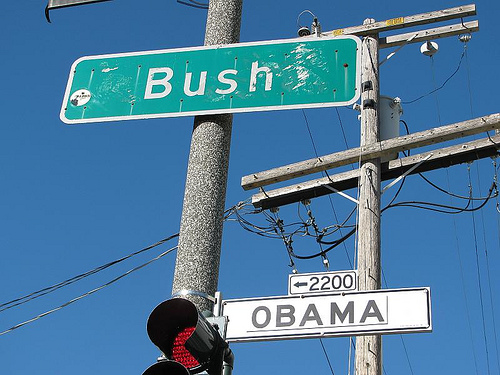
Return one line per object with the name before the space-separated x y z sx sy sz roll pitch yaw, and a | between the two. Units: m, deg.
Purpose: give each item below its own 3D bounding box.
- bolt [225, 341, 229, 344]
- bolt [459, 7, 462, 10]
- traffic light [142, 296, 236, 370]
bolt | -0.185 1.215 7.756 0.025 0.026 0.006 1 -5 -26
bolt | 3.324 -2.803 15.323 0.041 0.049 0.009 2 -6 0
traffic light | -0.477 1.138 7.675 0.636 0.578 0.410 -6 -28 5
